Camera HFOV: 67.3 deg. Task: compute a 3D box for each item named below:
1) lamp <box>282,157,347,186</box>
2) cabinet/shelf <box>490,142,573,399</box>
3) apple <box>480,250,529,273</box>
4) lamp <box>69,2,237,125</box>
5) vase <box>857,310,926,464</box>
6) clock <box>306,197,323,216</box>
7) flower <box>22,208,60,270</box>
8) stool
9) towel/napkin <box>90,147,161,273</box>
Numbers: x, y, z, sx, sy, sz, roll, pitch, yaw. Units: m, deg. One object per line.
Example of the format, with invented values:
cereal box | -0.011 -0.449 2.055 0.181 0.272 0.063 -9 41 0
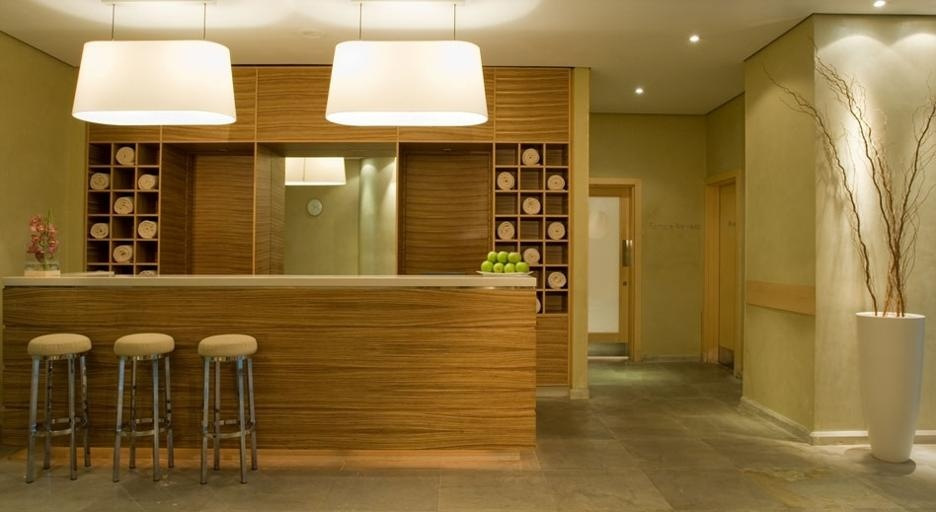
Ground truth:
lamp | -2.101 -1.163 9.700 0.563 0.293 0.531 0 -1 4
cabinet/shelf | 0.867 0.120 9.421 0.999 3.225 0.407 0 -3 4
apple | 0.413 0.091 8.039 0.354 0.161 0.335 1 -4 -11
lamp | -3.413 -2.367 7.814 1.966 1.291 0.976 1 4 -2
vase | 4.628 1.447 7.669 0.638 1.611 0.265 -1 -3 21
clock | -2.127 -0.669 9.734 0.236 0.210 0.051 7 2 -2
flower | -4.739 -0.141 7.820 0.304 0.669 0.400 2 -3 -32
stool | -3.533 1.631 7.558 1.730 0.995 0.459 0 0 -2
towel/napkin | -4.598 -0.639 9.510 1.036 1.751 0.404 0 -3 1
